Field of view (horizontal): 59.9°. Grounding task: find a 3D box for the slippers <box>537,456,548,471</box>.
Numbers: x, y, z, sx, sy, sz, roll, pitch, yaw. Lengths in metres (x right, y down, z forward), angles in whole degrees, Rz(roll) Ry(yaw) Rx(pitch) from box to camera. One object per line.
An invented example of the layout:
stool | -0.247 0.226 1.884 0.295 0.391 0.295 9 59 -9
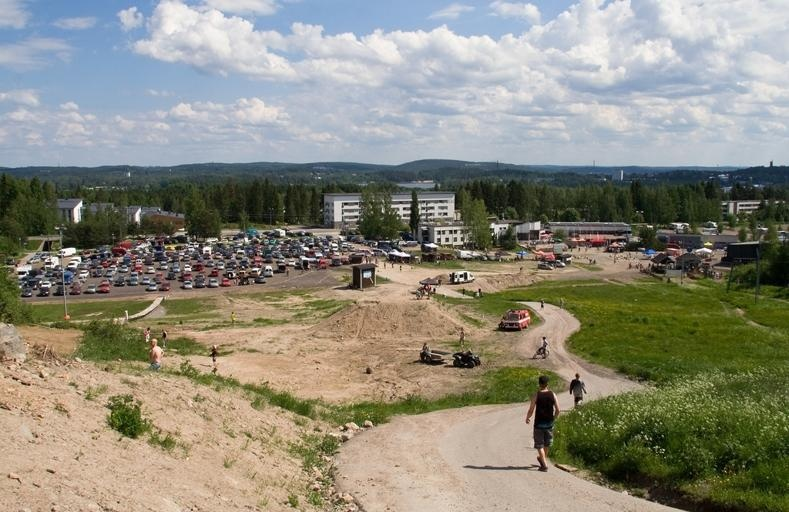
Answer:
slippers | 4.430 6.200 20.439 0.214 0.242 0.572 1 9 -2

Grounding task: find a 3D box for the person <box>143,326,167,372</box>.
person | -10.599 4.133 30.304 0.809 2.099 0.776 24 27 27

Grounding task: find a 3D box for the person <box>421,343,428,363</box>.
person | 1.556 5.160 36.163 0.465 0.810 0.639 -1 2 -3

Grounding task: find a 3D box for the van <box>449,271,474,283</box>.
van | 6.471 1.970 64.826 1.974 0.861 1.091 -6 10 -24

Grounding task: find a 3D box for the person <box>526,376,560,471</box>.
person | 4.390 4.949 20.410 0.872 2.934 1.391 0 2 11
